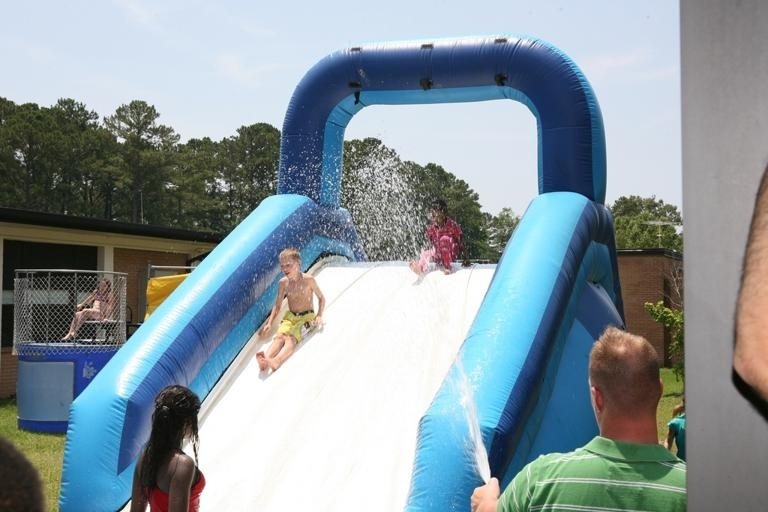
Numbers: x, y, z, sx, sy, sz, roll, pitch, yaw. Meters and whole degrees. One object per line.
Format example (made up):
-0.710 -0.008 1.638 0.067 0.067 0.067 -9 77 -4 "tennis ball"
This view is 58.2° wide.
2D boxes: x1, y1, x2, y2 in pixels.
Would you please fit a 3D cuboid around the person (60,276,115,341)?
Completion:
-4.735 0.857 11.252 0.596 0.767 1.293 2 -1 -20 "person"

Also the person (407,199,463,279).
0.620 -0.217 8.229 0.617 0.929 0.558 1 -1 3 "person"

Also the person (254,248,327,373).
-1.047 0.554 7.155 0.521 1.230 0.762 1 -2 34 "person"
